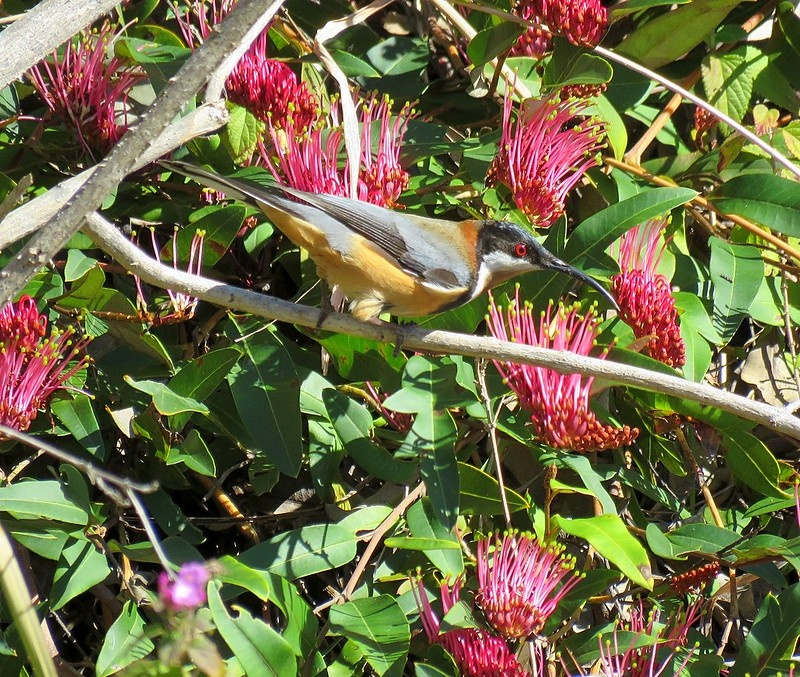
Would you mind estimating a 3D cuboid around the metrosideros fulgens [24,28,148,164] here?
[{"bbox_3d":[-1.285,-1.055,3.827,0.453,0.487,0.457,-10,41,-17],"label":"metrosideros fulgens"}]

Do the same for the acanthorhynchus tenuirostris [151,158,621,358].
[{"bbox_3d":[-0.079,-0.281,3.579,1.709,0.674,0.428,20,4,-8],"label":"acanthorhynchus tenuirostris"}]
